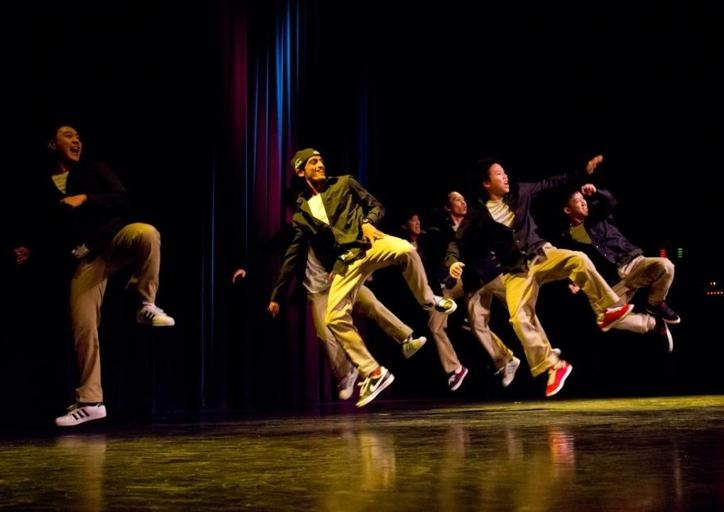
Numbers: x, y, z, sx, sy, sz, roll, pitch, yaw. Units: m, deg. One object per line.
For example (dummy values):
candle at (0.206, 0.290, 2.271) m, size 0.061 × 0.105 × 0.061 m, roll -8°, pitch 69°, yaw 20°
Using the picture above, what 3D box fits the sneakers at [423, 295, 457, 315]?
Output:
sneakers at (0.564, 0.360, 4.864) m, size 0.118 × 0.099 × 0.292 m, roll 5°, pitch 2°, yaw -27°

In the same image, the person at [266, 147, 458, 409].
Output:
person at (-0.081, 0.132, 4.960) m, size 1.230 × 1.893 × 0.467 m, roll -4°, pitch -7°, yaw 33°

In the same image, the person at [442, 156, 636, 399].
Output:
person at (1.363, 0.159, 5.220) m, size 1.168 × 1.797 × 0.491 m, roll -2°, pitch -6°, yaw 20°

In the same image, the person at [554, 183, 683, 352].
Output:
person at (2.231, 0.061, 6.000) m, size 0.800 × 1.563 × 0.976 m, roll -36°, pitch -13°, yaw 7°

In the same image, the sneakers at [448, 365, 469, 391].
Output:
sneakers at (0.900, 1.065, 6.057) m, size 0.147 × 0.110 × 0.335 m, roll 32°, pitch 28°, yaw 8°

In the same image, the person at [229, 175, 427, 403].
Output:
person at (-0.253, 0.226, 5.413) m, size 1.146 × 1.889 × 0.782 m, roll -25°, pitch 21°, yaw 21°

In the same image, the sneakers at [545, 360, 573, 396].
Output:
sneakers at (1.498, 0.921, 5.044) m, size 0.188 × 0.242 × 0.072 m, roll 1°, pitch -6°, yaw -16°
